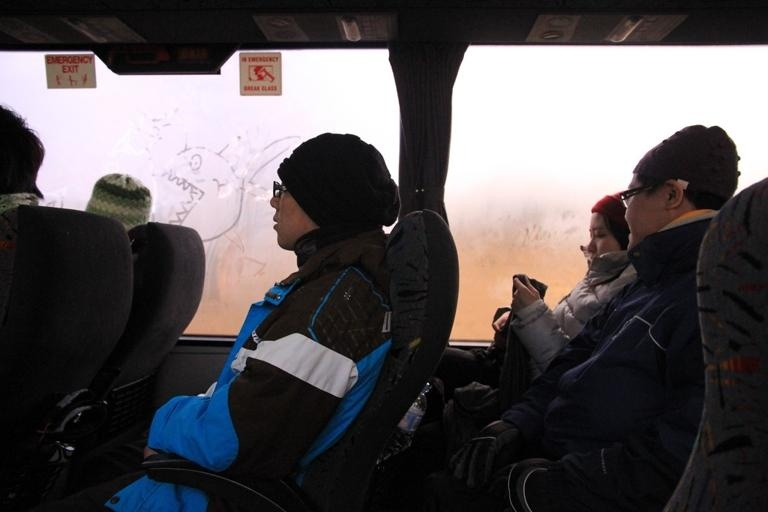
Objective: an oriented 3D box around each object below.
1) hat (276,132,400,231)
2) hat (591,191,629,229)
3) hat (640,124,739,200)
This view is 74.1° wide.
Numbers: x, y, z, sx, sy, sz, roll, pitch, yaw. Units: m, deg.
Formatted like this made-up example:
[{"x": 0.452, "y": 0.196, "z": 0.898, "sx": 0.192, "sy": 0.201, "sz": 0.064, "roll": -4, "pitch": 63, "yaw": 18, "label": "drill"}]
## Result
[{"x": -0.166, "y": -0.259, "z": 2.030, "sx": 0.499, "sy": 0.371, "sz": 0.384, "roll": 11, "pitch": 18, "yaw": 11, "label": "hat"}, {"x": 1.205, "y": -0.248, "z": 2.766, "sx": 0.172, "sy": 0.129, "sz": 0.215, "roll": -23, "pitch": 31, "yaw": -11, "label": "hat"}, {"x": 1.214, "y": -0.369, "z": 2.080, "sx": 0.347, "sy": 0.314, "sz": 0.271, "roll": 17, "pitch": 12, "yaw": 43, "label": "hat"}]
